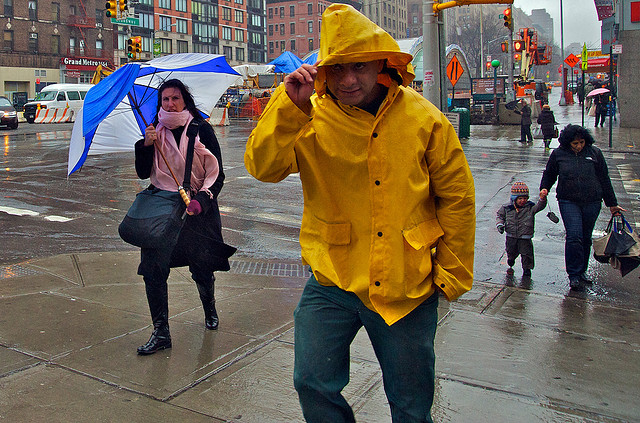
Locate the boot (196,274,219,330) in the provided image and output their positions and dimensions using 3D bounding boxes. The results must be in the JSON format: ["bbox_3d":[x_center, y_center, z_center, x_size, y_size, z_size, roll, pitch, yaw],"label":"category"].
[{"bbox_3d":[-1.157,0.930,5.271,0.204,0.565,0.283,0,12,-11],"label":"boot"}]

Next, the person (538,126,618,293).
[{"bbox_3d":[3.759,-0.205,7.359,0.812,2.090,0.808,-4,13,-28],"label":"person"}]

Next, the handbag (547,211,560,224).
[{"bbox_3d":[4.073,0.104,8.767,0.161,0.087,0.353,-29,21,7],"label":"handbag"}]

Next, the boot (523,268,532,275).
[{"bbox_3d":[3.094,0.903,7.460,0.081,0.080,0.082,-1,0,-8],"label":"boot"}]

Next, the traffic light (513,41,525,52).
[{"bbox_3d":[11.189,-9.445,28.296,0.660,0.682,1.238,4,14,21],"label":"traffic light"}]

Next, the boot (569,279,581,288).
[{"bbox_3d":[3.576,1.002,7.013,0.100,0.138,0.144,4,10,39],"label":"boot"}]

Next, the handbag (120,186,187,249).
[{"bbox_3d":[-1.536,0.006,4.801,0.618,0.283,0.852,-1,33,8],"label":"handbag"}]

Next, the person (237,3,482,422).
[{"bbox_3d":[0.301,0.024,2.977,1.351,2.456,0.589,0,11,-8],"label":"person"}]

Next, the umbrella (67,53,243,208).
[{"bbox_3d":[-1.680,-1.069,5.149,1.483,1.197,1.154,0,12,-11],"label":"umbrella"}]

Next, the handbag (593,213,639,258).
[{"bbox_3d":[4.433,0.368,7.505,0.671,0.690,0.270,-2,-16,3],"label":"handbag"}]

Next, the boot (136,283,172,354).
[{"bbox_3d":[-1.567,0.999,4.777,0.362,0.643,0.221,-7,14,-36],"label":"boot"}]

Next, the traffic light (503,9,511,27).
[{"bbox_3d":[7.639,-7.997,20.377,0.300,0.704,0.886,6,13,19],"label":"traffic light"}]

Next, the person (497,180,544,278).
[{"bbox_3d":[2.994,0.247,7.569,0.635,1.322,0.630,6,12,21],"label":"person"}]
